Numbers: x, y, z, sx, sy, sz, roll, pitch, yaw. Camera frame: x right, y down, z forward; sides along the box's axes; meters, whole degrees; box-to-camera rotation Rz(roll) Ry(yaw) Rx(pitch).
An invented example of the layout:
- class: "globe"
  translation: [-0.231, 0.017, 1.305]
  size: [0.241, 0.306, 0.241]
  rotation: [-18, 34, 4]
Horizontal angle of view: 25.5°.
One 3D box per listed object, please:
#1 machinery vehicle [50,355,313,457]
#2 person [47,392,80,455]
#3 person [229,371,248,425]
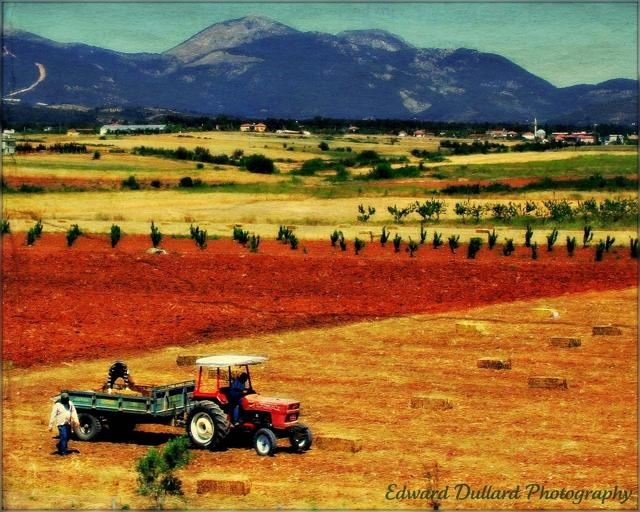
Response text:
- class: "machinery vehicle"
  translation: [-8.828, 7.851, 77.853]
  size: [16.269, 4.731, 5.376]
  rotation: [0, 2, 13]
- class: "person"
  translation: [-13.660, 8.731, 76.024]
  size: [0.963, 3.173, 1.409]
  rotation: [4, 9, 29]
- class: "person"
  translation: [-4.386, 7.483, 75.949]
  size: [0.986, 2.751, 0.574]
  rotation: [-1, 8, -8]
